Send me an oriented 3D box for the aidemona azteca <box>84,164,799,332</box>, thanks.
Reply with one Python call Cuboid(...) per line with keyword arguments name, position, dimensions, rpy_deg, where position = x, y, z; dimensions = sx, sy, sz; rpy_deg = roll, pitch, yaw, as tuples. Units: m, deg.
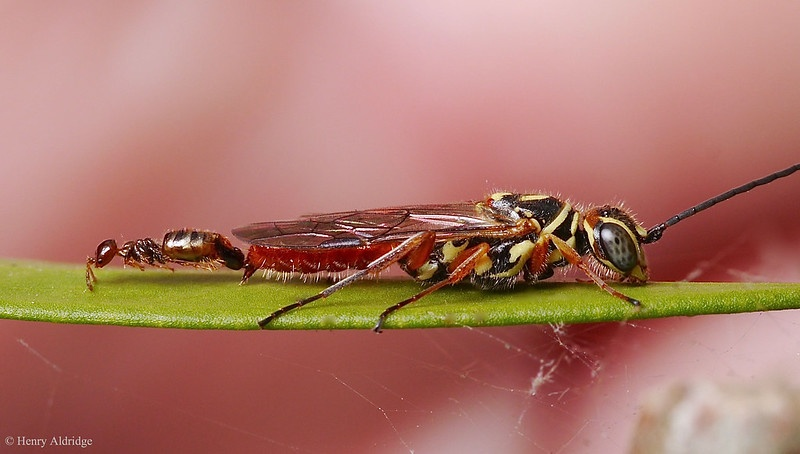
Cuboid(name="aidemona azteca", position=(0.141, 0.121, 4.198), dimensions=(3.295, 0.568, 0.718), rpy_deg=(0, 13, 1))
